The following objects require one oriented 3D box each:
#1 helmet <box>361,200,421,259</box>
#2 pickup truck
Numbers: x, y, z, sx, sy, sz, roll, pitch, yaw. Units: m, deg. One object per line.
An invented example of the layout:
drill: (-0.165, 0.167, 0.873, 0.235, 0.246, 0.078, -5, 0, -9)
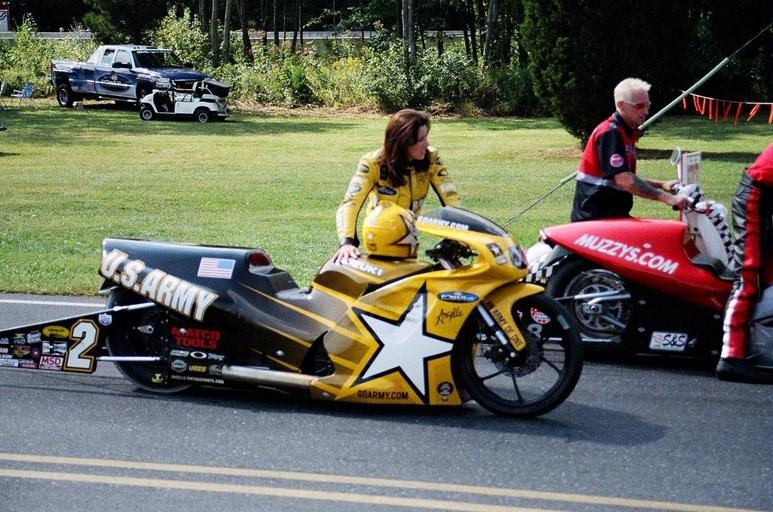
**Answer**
helmet: (-0.028, -0.216, 8.042, 0.542, 0.440, 0.413, -5, 11, -44)
pickup truck: (-10.470, -7.291, 36.378, 7.618, 2.580, 2.292, 8, 13, 36)
